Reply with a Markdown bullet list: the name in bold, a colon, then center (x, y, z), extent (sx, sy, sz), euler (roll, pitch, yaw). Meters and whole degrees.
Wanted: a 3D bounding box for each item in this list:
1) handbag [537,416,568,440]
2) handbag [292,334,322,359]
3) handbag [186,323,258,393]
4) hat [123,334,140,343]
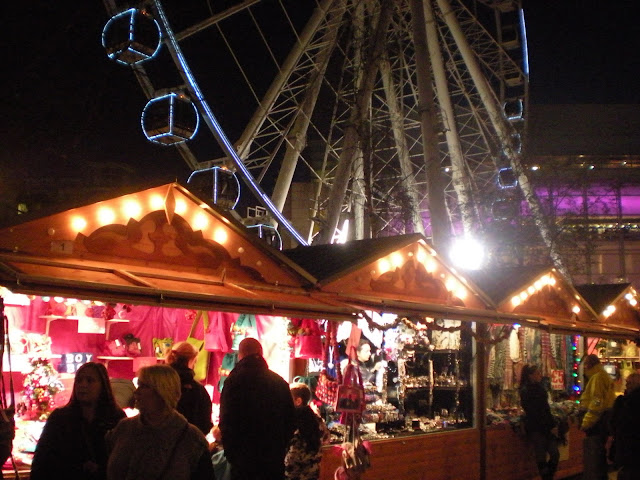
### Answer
- **handbag**: center (3.844, 3.036, 9.690), extent (0.472, 0.263, 0.588), euler (4, -6, -39)
- **handbag**: center (-0.171, 1.364, 7.640), extent (0.285, 0.216, 0.299), euler (-2, -10, 12)
- **handbag**: center (-1.182, 1.529, 8.269), extent (0.693, 1.159, 1.167), euler (-7, -9, 31)
- **hat**: center (-2.677, 1.372, 8.383), extent (0.217, 0.162, 0.139), euler (2, -15, -5)
